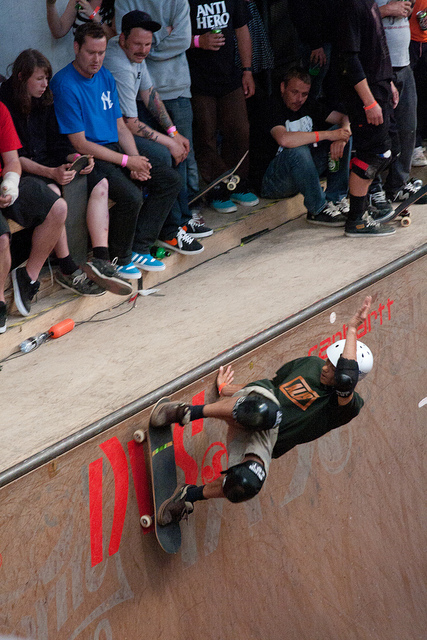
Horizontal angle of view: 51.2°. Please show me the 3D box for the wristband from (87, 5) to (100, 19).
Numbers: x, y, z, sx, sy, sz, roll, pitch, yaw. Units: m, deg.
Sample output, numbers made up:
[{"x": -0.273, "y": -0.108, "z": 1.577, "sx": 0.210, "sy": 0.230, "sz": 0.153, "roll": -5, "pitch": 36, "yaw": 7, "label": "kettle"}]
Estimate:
[{"x": -0.972, "y": -2.492, "z": 3.654, "sx": 0.049, "sy": 0.092, "sz": 0.194, "roll": -1, "pitch": 30, "yaw": 13, "label": "wristband"}]

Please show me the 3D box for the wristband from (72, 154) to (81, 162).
[{"x": -0.877, "y": -1.042, "z": 2.881, "sx": 0.028, "sy": 0.031, "sz": 0.051, "roll": 23, "pitch": 54, "yaw": -4, "label": "wristband"}]

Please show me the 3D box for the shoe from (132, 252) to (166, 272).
[{"x": -0.508, "y": -0.434, "z": 3.490, "sx": 0.255, "sy": 0.115, "sz": 0.099, "roll": 21, "pitch": 22, "yaw": -18, "label": "shoe"}]

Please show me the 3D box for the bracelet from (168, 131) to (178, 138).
[{"x": -0.328, "y": -1.470, "z": 3.568, "sx": 0.037, "sy": 0.020, "sz": 0.050, "roll": -18, "pitch": 23, "yaw": 44, "label": "bracelet"}]

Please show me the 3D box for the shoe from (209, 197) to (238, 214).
[{"x": 0.096, "y": -1.149, "z": 4.510, "sx": 0.106, "sy": 0.135, "sz": 0.290, "roll": -16, "pitch": 17, "yaw": -38, "label": "shoe"}]

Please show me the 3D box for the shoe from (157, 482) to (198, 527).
[{"x": -0.207, "y": 1.042, "z": 2.449, "sx": 0.124, "sy": 0.112, "sz": 0.317, "roll": -4, "pitch": 24, "yaw": 12, "label": "shoe"}]

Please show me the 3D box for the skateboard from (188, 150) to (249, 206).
[{"x": 0.036, "y": -1.376, "z": 4.338, "sx": 0.869, "sy": 0.160, "sz": 0.215, "roll": -41, "pitch": 18, "yaw": 11, "label": "skateboard"}]

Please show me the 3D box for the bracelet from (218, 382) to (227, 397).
[{"x": 0.063, "y": 0.409, "z": 2.654, "sx": 0.032, "sy": 0.052, "sz": 0.055, "roll": 23, "pitch": 65, "yaw": 34, "label": "bracelet"}]

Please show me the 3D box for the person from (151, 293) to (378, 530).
[{"x": 0.394, "y": 0.544, "z": 2.735, "sx": 1.667, "sy": 0.735, "sz": 0.885, "roll": -24, "pitch": 30, "yaw": -6, "label": "person"}]

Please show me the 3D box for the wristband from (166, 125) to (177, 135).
[{"x": -0.336, "y": -1.511, "z": 3.602, "sx": 0.074, "sy": 0.040, "sz": 0.064, "roll": -39, "pitch": 6, "yaw": 7, "label": "wristband"}]

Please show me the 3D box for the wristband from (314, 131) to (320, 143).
[{"x": 0.979, "y": -1.759, "z": 4.311, "sx": 0.050, "sy": 0.062, "sz": 0.072, "roll": -2, "pitch": 44, "yaw": 3, "label": "wristband"}]

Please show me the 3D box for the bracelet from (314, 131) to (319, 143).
[{"x": 0.986, "y": -1.757, "z": 4.297, "sx": 0.044, "sy": 0.069, "sz": 0.064, "roll": -1, "pitch": -9, "yaw": -4, "label": "bracelet"}]

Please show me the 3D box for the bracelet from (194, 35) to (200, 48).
[{"x": -0.150, "y": -2.440, "z": 3.949, "sx": 0.052, "sy": 0.058, "sz": 0.073, "roll": 4, "pitch": 34, "yaw": 8, "label": "bracelet"}]

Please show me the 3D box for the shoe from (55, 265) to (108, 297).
[{"x": -0.907, "y": -0.268, "z": 3.037, "sx": 0.331, "sy": 0.153, "sz": 0.146, "roll": 27, "pitch": -10, "yaw": 4, "label": "shoe"}]

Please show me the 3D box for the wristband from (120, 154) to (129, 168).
[{"x": -0.621, "y": -1.092, "z": 3.098, "sx": 0.063, "sy": 0.079, "sz": 0.058, "roll": -11, "pitch": 29, "yaw": -6, "label": "wristband"}]

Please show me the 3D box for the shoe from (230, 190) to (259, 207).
[{"x": 0.324, "y": -1.239, "z": 4.642, "sx": 0.340, "sy": 0.145, "sz": 0.125, "roll": 9, "pitch": 32, "yaw": 42, "label": "shoe"}]

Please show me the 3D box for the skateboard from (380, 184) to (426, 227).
[{"x": 2.012, "y": -1.214, "z": 4.815, "sx": 0.640, "sy": 0.116, "sz": 0.169, "roll": -50, "pitch": 25, "yaw": 1, "label": "skateboard"}]

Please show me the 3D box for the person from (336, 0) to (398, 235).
[{"x": 1.364, "y": -1.733, "z": 4.044, "sx": 0.529, "sy": 1.956, "sz": 0.359, "roll": -12, "pitch": 28, "yaw": -9, "label": "person"}]

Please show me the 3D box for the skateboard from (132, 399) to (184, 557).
[{"x": -0.299, "y": 0.837, "z": 2.446, "sx": 0.128, "sy": 0.928, "sz": 0.220, "roll": -8, "pitch": -8, "yaw": 41, "label": "skateboard"}]

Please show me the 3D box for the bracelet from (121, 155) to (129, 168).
[{"x": -0.610, "y": -1.090, "z": 3.076, "sx": 0.054, "sy": 0.059, "sz": 0.059, "roll": 27, "pitch": -2, "yaw": -2, "label": "bracelet"}]

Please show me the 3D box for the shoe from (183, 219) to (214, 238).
[{"x": -0.146, "y": -0.791, "z": 3.943, "sx": 0.290, "sy": 0.126, "sz": 0.119, "roll": 6, "pitch": 29, "yaw": -8, "label": "shoe"}]

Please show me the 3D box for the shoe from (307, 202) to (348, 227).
[{"x": 1.196, "y": -1.113, "z": 4.717, "sx": 0.455, "sy": 0.232, "sz": 0.180, "roll": 7, "pitch": 26, "yaw": 13, "label": "shoe"}]

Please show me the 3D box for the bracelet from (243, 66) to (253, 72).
[{"x": 0.360, "y": -2.563, "z": 4.615, "sx": 0.062, "sy": 0.056, "sz": 0.266, "roll": 2, "pitch": 32, "yaw": 17, "label": "bracelet"}]

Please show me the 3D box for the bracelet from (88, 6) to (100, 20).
[{"x": -0.959, "y": -2.480, "z": 3.630, "sx": 0.126, "sy": 0.031, "sz": 0.093, "roll": -55, "pitch": 27, "yaw": -5, "label": "bracelet"}]

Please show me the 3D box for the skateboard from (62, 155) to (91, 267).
[{"x": -0.904, "y": -0.711, "z": 2.949, "sx": 0.163, "sy": 0.719, "sz": 0.121, "roll": -13, "pitch": 27, "yaw": -44, "label": "skateboard"}]

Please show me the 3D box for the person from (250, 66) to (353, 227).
[{"x": 0.944, "y": -1.780, "z": 4.602, "sx": 1.006, "sy": 1.485, "sz": 0.860, "roll": 16, "pitch": 36, "yaw": 43, "label": "person"}]

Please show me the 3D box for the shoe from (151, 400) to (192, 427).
[{"x": -0.218, "y": 0.483, "z": 2.328, "sx": 0.186, "sy": 0.109, "sz": 0.191, "roll": 4, "pitch": 2, "yaw": -13, "label": "shoe"}]

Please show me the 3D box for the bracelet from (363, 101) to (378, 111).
[{"x": 1.356, "y": -1.826, "z": 3.870, "sx": 0.070, "sy": 0.022, "sz": 0.074, "roll": -45, "pitch": 17, "yaw": -27, "label": "bracelet"}]

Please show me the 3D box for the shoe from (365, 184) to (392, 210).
[{"x": 1.713, "y": -1.278, "z": 4.662, "sx": 0.240, "sy": 0.201, "sz": 0.269, "roll": 4, "pitch": 31, "yaw": 20, "label": "shoe"}]
